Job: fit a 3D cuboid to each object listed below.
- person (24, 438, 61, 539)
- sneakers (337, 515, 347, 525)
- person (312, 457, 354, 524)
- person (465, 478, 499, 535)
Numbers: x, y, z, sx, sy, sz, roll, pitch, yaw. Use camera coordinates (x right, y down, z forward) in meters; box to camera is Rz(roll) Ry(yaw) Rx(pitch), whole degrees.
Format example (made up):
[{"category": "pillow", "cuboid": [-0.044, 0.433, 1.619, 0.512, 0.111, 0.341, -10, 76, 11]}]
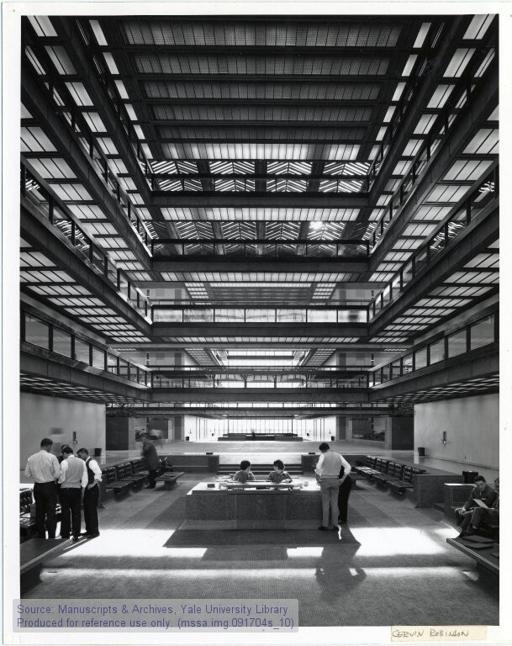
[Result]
[{"category": "person", "cuboid": [-3.869, 3.005, 9.202, 0.535, 1.878, 0.521, 0, 9, -12]}, {"category": "sneakers", "cuboid": [2.019, 4.578, 11.673, 0.241, 0.255, 0.182, -1, -12, -2]}, {"category": "person", "cuboid": [1.713, 3.646, 11.033, 0.690, 1.648, 0.838, -4, -10, 6]}, {"category": "person", "cuboid": [3.960, 3.289, 8.830, 0.609, 0.739, 0.866, -12, -14, 42]}]
